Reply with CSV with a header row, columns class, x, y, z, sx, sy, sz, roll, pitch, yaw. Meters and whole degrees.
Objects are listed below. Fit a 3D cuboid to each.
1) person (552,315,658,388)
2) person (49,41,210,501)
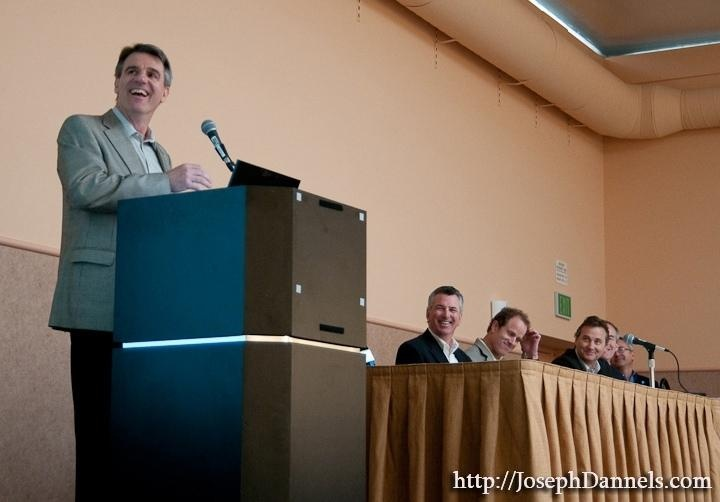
class,x,y,z,sx,sy,sz,roll,pitch,yaw
person,2.077,0.847,5.393,0.828,0.920,0.478,5,-15,-19
person,-0.834,-0.009,2.168,0.422,1.640,0.396,7,-12,-29
